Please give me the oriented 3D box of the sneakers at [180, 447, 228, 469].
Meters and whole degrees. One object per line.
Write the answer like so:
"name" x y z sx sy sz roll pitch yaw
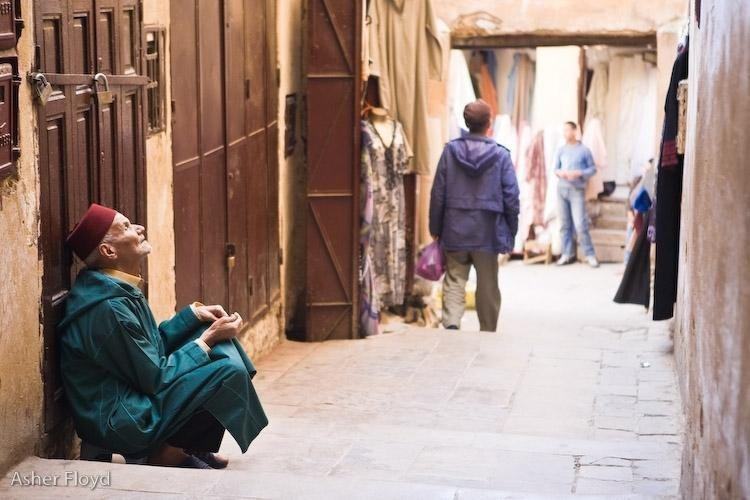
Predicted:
"sneakers" -1.018 1.244 5.002 0.279 0.122 0.100 3 4 -43

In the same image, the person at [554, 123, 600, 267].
"person" 3.165 -0.886 13.305 0.650 2.258 0.486 0 7 6

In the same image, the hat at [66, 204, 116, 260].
"hat" -1.579 -0.110 4.754 0.153 0.303 0.232 39 -2 -39

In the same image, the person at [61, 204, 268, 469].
"person" -1.253 0.541 4.984 1.071 1.678 0.854 -9 7 -26

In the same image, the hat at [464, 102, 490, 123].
"hat" 1.029 -1.413 8.482 0.243 0.217 0.170 -1 7 2

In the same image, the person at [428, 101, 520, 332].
"person" 1.001 -0.331 8.558 0.900 2.385 0.420 -1 7 4
